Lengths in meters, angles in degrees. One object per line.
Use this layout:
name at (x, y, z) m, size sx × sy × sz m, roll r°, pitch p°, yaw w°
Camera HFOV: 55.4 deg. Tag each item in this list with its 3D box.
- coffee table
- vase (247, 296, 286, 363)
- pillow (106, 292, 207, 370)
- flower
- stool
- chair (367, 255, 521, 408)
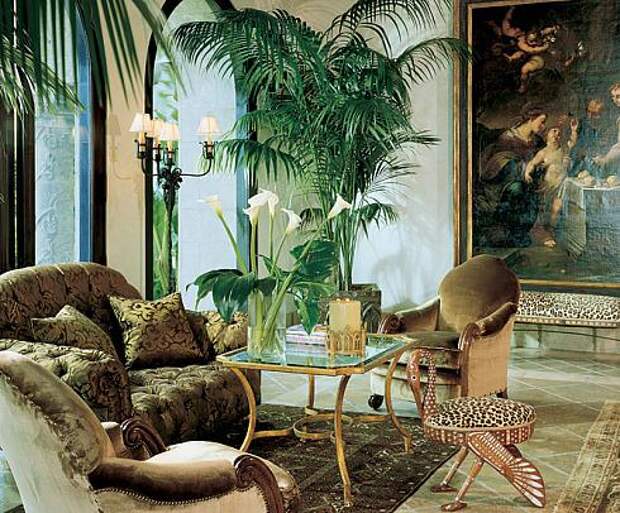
coffee table at (0.008, 0.629, 2.906) m, size 0.713 × 0.525 × 0.816 m, roll 2°, pitch 3°, yaw 34°
vase at (-0.207, 0.338, 2.858) m, size 0.188 × 0.352 × 0.205 m, roll 0°, pitch -3°, yaw 8°
pillow at (-0.812, 0.332, 3.261) m, size 0.436 × 0.420 × 0.131 m, roll 4°, pitch -34°, yaw -47°
flower at (-0.192, 0.054, 2.760) m, size 0.631 × 0.794 × 0.581 m, roll -2°, pitch 15°, yaw -15°
stool at (0.639, 0.757, 2.832) m, size 0.618 × 0.792 × 0.502 m, roll -2°, pitch 1°, yaw -8°
chair at (0.906, 0.509, 3.844) m, size 0.895 × 1.053 × 0.872 m, roll 0°, pitch 0°, yaw -23°
